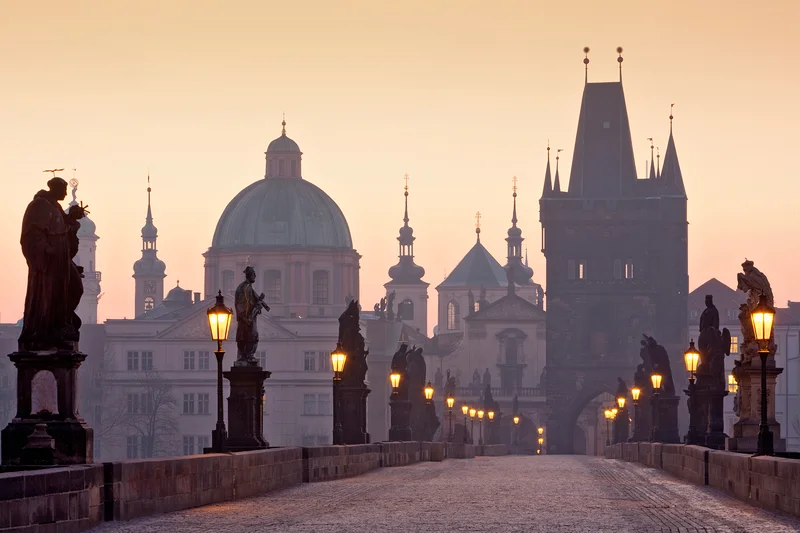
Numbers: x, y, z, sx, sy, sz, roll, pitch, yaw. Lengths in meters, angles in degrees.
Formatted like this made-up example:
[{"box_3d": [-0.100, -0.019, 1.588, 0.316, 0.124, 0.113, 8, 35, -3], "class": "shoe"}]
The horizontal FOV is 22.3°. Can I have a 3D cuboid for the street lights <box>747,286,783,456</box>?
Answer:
[{"box_3d": [9.773, 2.793, 53.591, 0.957, 4.069, 0.719, 2, 3, -1], "class": "street lights"}]
